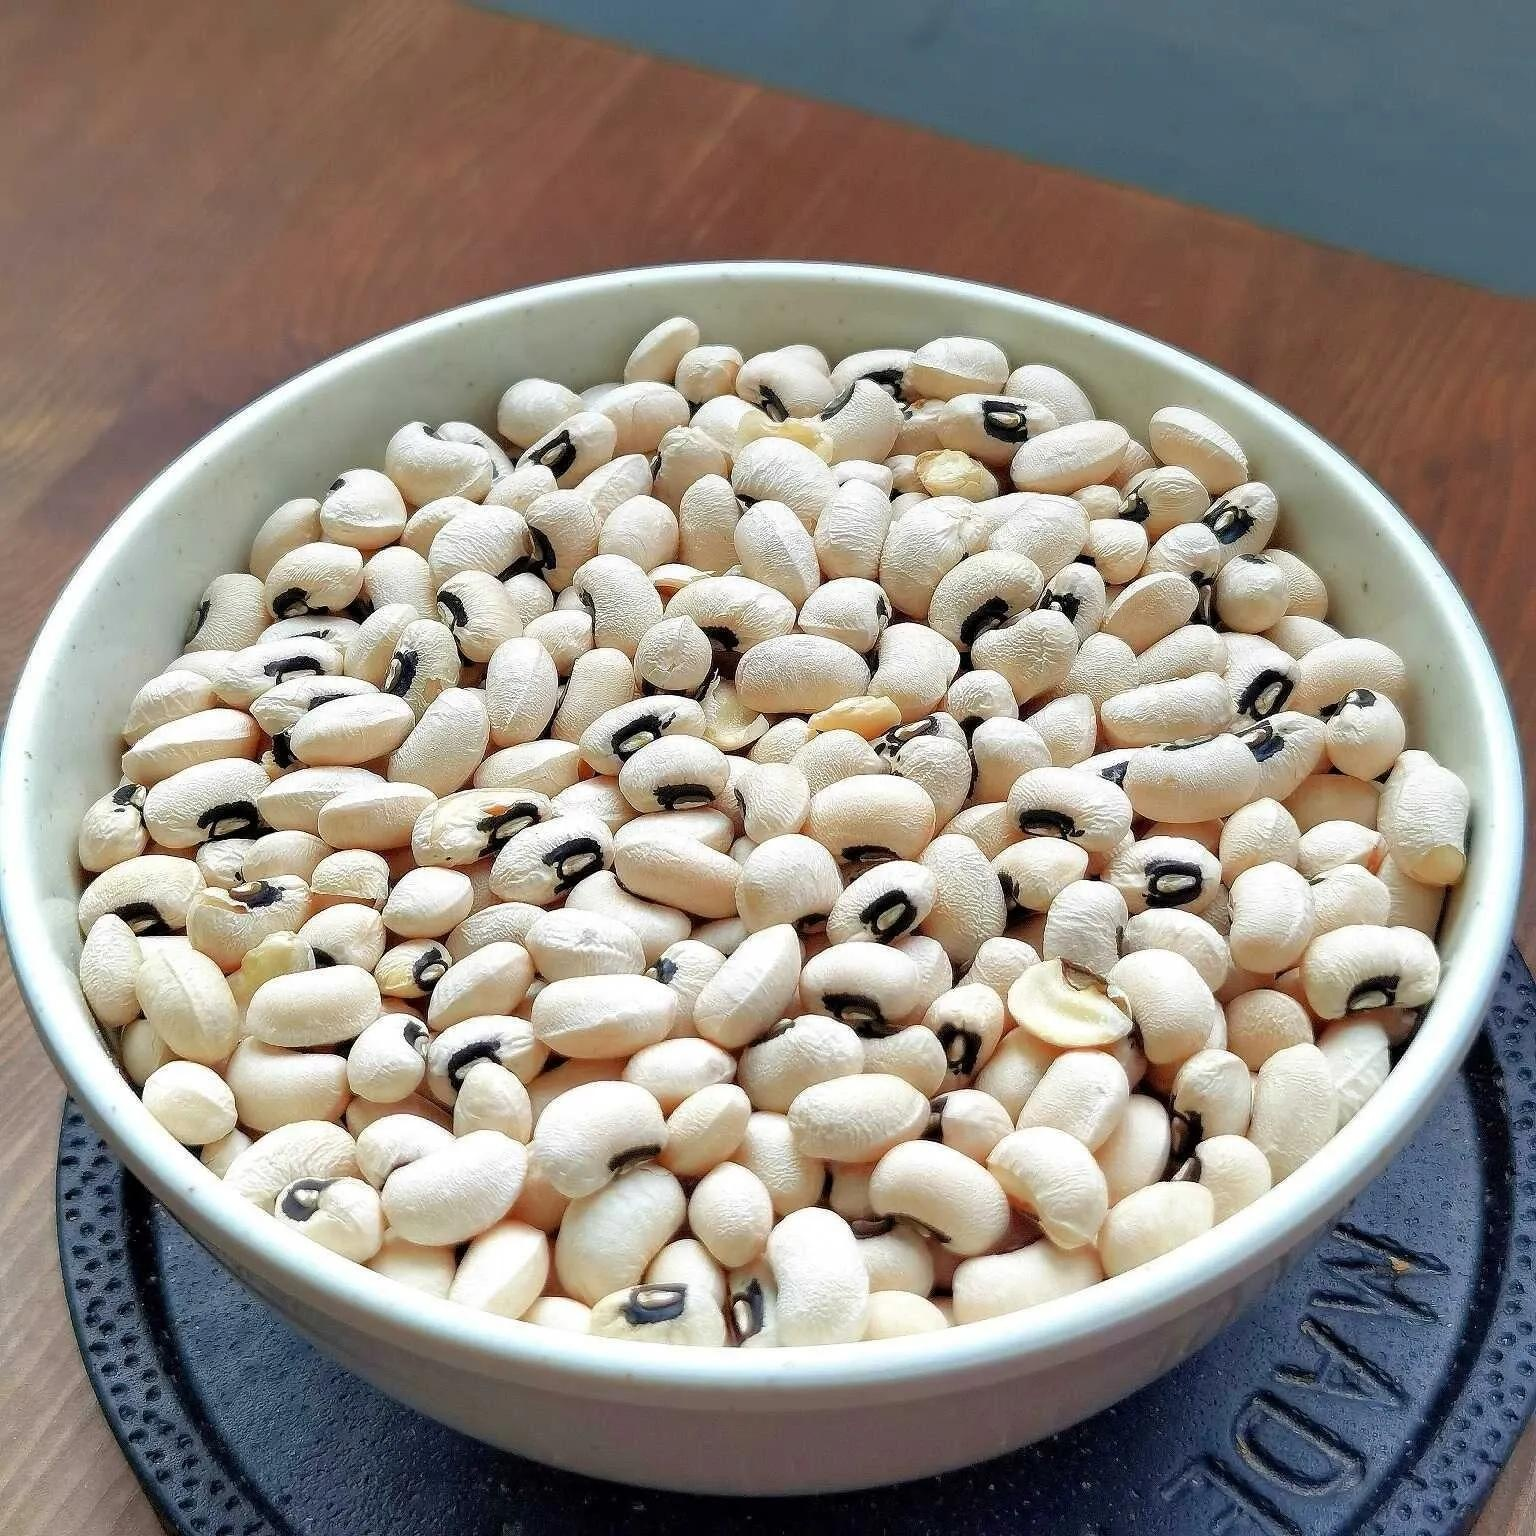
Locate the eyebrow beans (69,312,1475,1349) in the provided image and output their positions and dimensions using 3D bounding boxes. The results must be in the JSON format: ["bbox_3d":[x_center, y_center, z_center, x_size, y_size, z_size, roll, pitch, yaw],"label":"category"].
[{"bbox_3d":[0.002,0.045,0.694,0.461,0.140,0.377,0,35,3],"label":"eyebrow beans"}]
